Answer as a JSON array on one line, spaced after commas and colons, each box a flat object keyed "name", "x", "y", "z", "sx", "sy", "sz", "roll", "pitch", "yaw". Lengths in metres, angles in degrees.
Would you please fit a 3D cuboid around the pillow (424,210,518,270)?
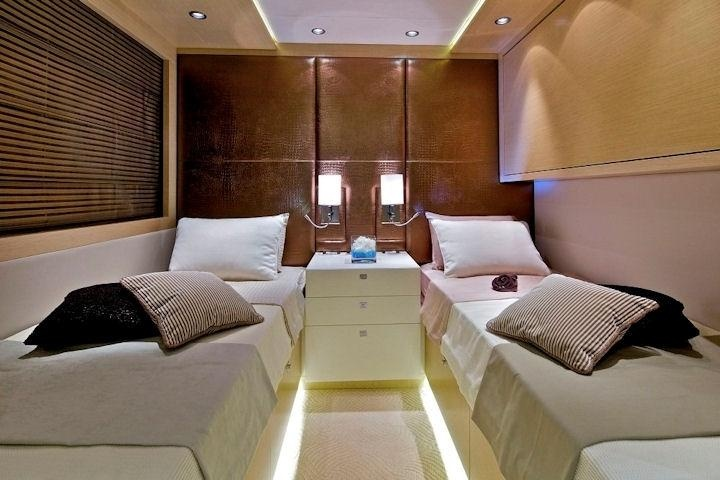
[{"name": "pillow", "x": 0.823, "y": 0.009, "z": 3.243, "sx": 0.485, "sy": 0.298, "sz": 0.079, "roll": -2, "pitch": -13, "yaw": -12}]

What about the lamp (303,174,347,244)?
[{"name": "lamp", "x": -0.270, "y": -0.220, "z": 3.490, "sx": 0.344, "sy": 0.587, "sz": 0.213, "roll": 0, "pitch": 3, "yaw": -8}]

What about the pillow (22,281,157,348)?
[{"name": "pillow", "x": -1.324, "y": 0.397, "z": 2.171, "sx": 0.379, "sy": 0.119, "sz": 0.369, "roll": -6, "pitch": 39, "yaw": -20}]

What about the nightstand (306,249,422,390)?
[{"name": "nightstand", "x": 0.017, "y": 0.563, "z": 3.508, "sx": 1.073, "sy": 1.008, "sz": 0.787, "roll": -1, "pitch": -1, "yaw": 0}]
